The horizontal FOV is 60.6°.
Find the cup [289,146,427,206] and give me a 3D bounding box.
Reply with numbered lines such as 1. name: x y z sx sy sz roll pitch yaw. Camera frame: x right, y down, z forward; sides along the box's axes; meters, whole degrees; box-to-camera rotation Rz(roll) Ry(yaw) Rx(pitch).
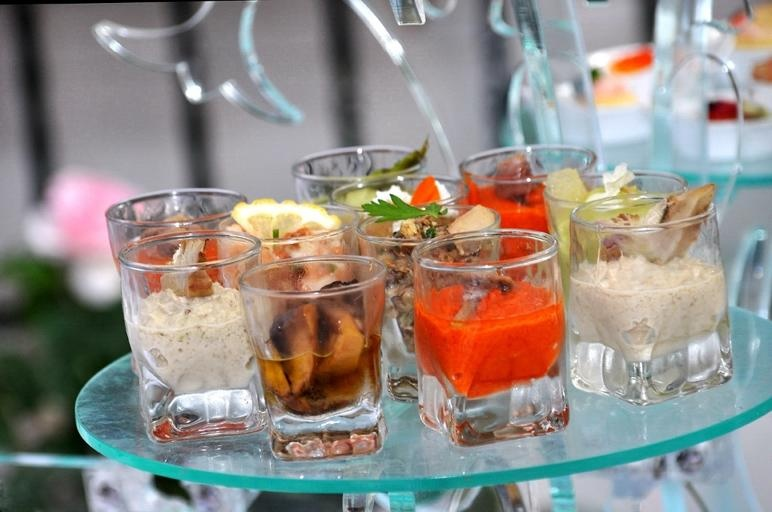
1. cup: -0.046 -0.101 1.018 0.151 0.091 0.142 -6 10 1

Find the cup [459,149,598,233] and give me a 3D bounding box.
1. cup: 0.192 -0.109 0.913 0.154 0.104 0.150 -7 13 2

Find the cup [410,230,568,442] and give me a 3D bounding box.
1. cup: 0.109 0.083 0.703 0.170 0.213 0.088 -9 13 0
